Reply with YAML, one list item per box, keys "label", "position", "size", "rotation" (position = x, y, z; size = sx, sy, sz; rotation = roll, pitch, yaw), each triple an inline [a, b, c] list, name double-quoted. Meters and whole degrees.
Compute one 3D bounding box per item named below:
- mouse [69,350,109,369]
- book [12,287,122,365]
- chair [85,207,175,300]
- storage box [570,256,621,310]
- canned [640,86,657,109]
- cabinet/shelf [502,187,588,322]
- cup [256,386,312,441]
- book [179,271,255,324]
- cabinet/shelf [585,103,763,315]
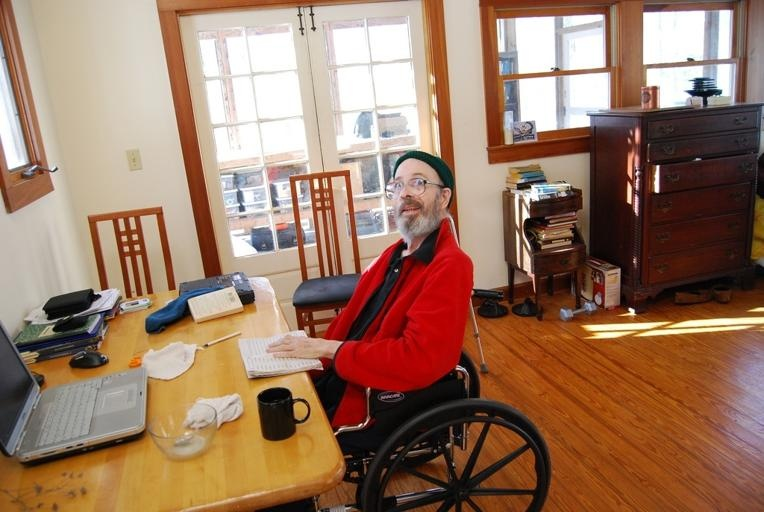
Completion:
- label: "mouse"
  position: [-1.256, 0.443, 2.356]
  size: [0.119, 0.039, 0.082]
  rotation: [1, 9, -3]
- label: "book"
  position: [-1.457, 0.311, 2.558]
  size: [0.309, 0.068, 0.299]
  rotation: [-13, 16, -7]
- label: "chair"
  position: [-1.651, -0.027, 3.559]
  size: [0.494, 0.835, 0.485]
  rotation: [-8, 12, -22]
- label: "storage box"
  position: [1.669, 0.216, 4.275]
  size: [0.159, 0.386, 0.354]
  rotation: [-9, 14, -25]
- label: "canned"
  position: [1.961, -1.142, 4.062]
  size: [0.164, 0.176, 0.173]
  rotation: [1, 8, 24]
- label: "cabinet/shelf"
  position: [1.273, -0.041, 4.361]
  size: [0.596, 0.924, 0.569]
  rotation: [-5, 16, 1]
- label: "cup"
  position: [-0.354, 0.553, 1.967]
  size: [0.212, 0.145, 0.130]
  rotation: [-4, 9, -32]
- label: "book"
  position: [-0.884, 0.201, 2.941]
  size: [0.289, 0.070, 0.301]
  rotation: [-11, 26, -20]
- label: "cabinet/shelf"
  position: [2.190, -0.341, 4.125]
  size: [1.439, 1.636, 0.982]
  rotation: [-5, 15, -9]
